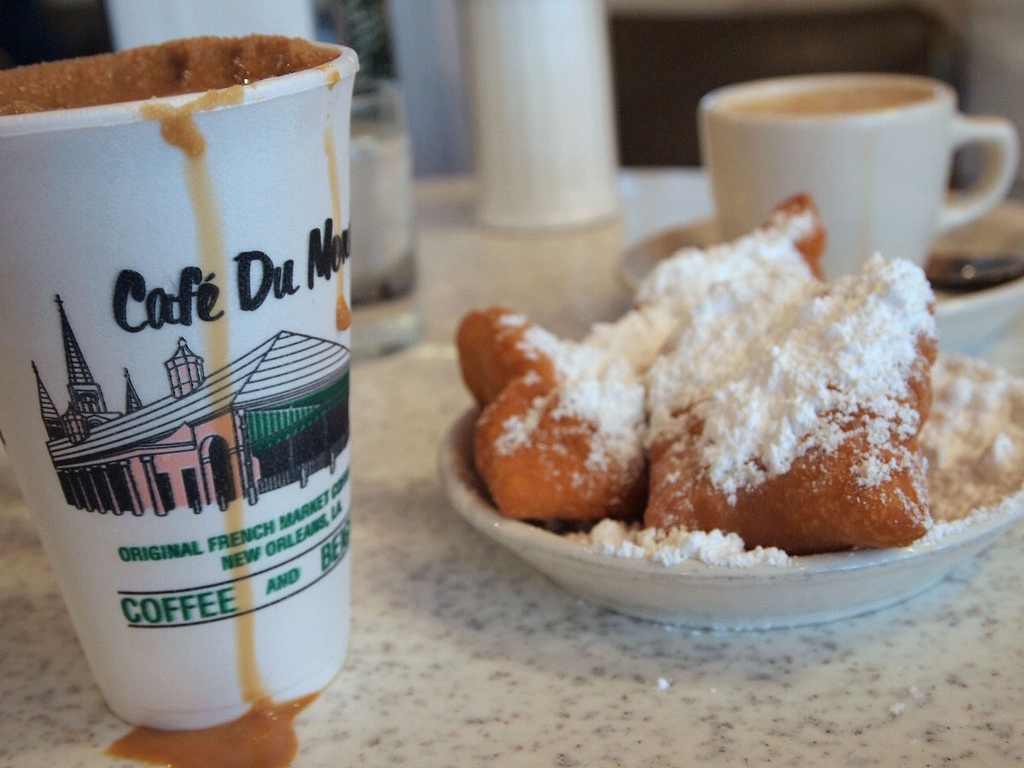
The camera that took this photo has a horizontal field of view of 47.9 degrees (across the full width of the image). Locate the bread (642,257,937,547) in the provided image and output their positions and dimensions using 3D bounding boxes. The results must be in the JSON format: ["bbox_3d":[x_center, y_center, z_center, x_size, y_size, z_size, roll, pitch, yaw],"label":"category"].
[{"bbox_3d":[0.158,0.018,0.646,0.152,0.050,0.171,-8,54,29],"label":"bread"}]

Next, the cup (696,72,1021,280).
[{"bbox_3d":[0.263,-0.176,0.881,0.181,0.143,0.159,-2,19,1],"label":"cup"}]
